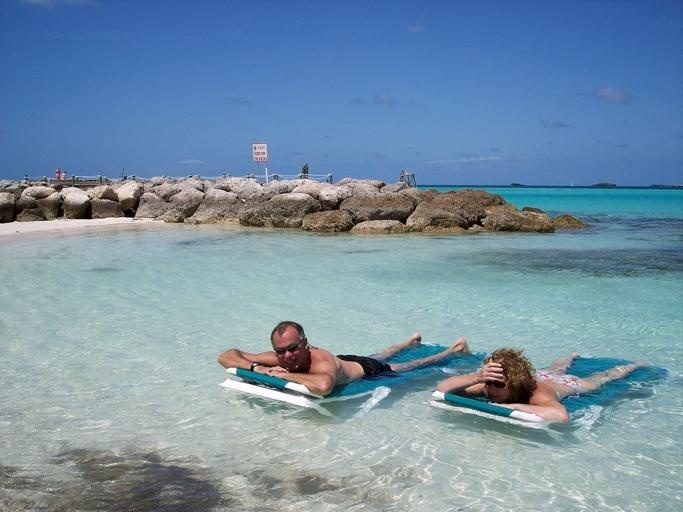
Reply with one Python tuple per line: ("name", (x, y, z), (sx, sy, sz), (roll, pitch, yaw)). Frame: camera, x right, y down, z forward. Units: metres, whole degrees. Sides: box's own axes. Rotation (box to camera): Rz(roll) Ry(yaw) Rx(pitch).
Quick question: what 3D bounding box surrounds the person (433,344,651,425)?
("person", (2.312, 1.416, 6.993), (1.786, 0.350, 1.097), (-4, 2, -40))
